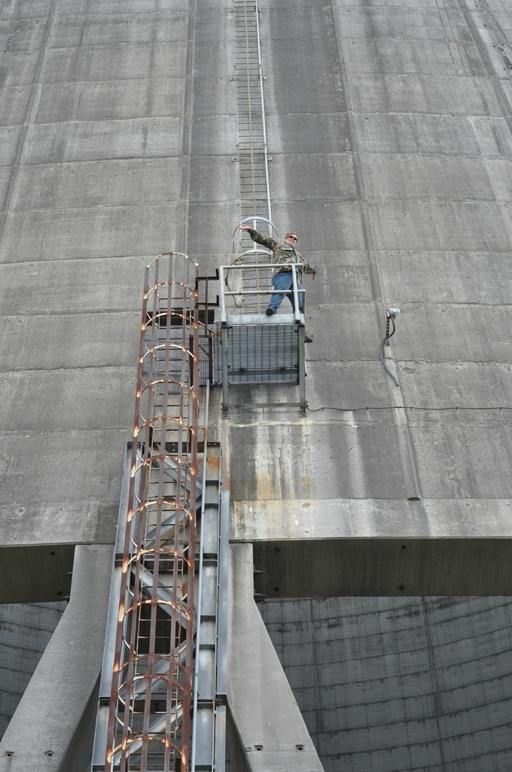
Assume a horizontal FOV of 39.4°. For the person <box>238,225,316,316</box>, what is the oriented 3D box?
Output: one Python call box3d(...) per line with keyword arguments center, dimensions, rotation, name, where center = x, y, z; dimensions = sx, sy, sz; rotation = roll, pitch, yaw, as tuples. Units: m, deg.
box3d(center=(0.435, -1.935, 12.216), dimensions=(0.945, 1.571, 2.208), rotation=(-2, 42, -1), name="person")
